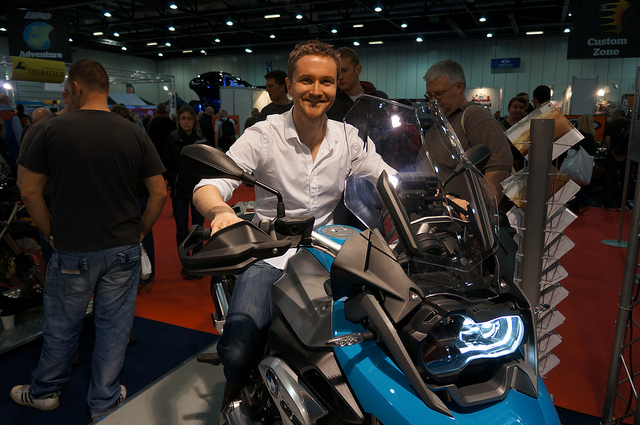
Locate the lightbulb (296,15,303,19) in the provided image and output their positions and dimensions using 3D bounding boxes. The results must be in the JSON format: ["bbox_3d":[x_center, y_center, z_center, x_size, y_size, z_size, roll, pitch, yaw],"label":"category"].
[{"bbox_3d":[-0.816,-7.938,17.534,0.218,0.098,0.375,6,14,21],"label":"lightbulb"}]

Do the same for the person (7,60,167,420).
[{"bbox_3d":[-1.981,0.236,3.695,1.048,2.947,0.802,3,12,12],"label":"person"}]

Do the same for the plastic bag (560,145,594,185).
[{"bbox_3d":[3.809,-0.725,6.385,0.380,0.466,0.944,8,15,30],"label":"plastic bag"}]

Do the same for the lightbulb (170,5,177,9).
[{"bbox_3d":[-5.447,-7.612,15.968,0.234,0.089,0.333,-2,13,-9],"label":"lightbulb"}]

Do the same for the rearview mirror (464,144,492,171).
[{"bbox_3d":[0.861,-0.312,2.394,0.159,0.126,0.054,8,2,35],"label":"rearview mirror"}]

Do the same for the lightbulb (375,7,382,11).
[{"bbox_3d":[2.246,-7.751,16.491,0.271,0.138,0.181,1,13,3],"label":"lightbulb"}]

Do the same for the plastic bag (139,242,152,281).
[{"bbox_3d":[-1.617,0.443,3.962,0.091,0.401,0.340,-4,14,-22],"label":"plastic bag"}]

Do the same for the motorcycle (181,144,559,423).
[{"bbox_3d":[0.045,0.298,2.546,1.219,1.268,1.942,-3,5,-28],"label":"motorcycle"}]

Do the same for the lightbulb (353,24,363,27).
[{"bbox_3d":[1.757,-8.453,19.554,0.538,0.112,0.116,-1,28,-27],"label":"lightbulb"}]

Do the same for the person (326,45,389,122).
[{"bbox_3d":[0.475,-1.566,5.342,0.559,0.973,1.202,-11,27,-19],"label":"person"}]

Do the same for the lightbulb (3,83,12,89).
[{"bbox_3d":[-9.560,-3.852,13.162,0.111,0.180,0.426,-4,14,-19],"label":"lightbulb"}]
